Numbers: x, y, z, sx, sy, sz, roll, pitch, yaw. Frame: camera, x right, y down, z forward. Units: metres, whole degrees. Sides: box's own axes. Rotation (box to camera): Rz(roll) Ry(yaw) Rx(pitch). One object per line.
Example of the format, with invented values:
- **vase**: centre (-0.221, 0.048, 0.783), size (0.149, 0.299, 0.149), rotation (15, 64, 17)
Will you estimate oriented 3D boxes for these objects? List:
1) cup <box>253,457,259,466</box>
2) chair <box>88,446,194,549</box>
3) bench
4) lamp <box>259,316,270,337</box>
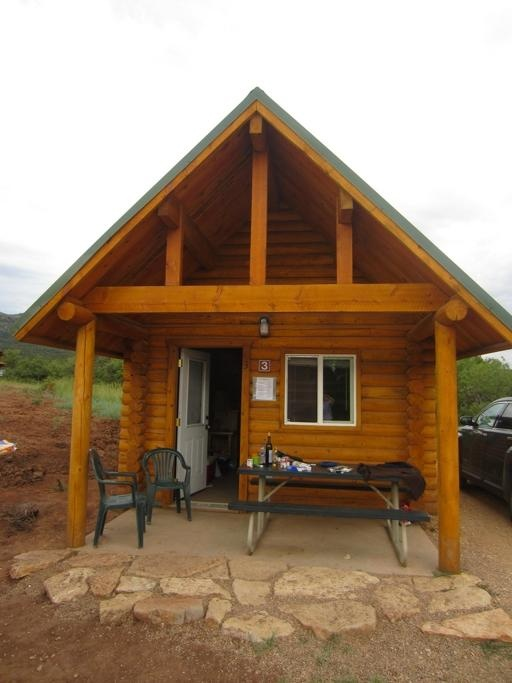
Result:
- **cup**: centre (0.008, 1.464, 6.348), size (0.093, 0.095, 0.086), rotation (1, -6, 0)
- **chair**: centre (-1.465, 2.071, 6.906), size (0.589, 0.761, 1.219), rotation (-4, -7, 9)
- **bench**: centre (0.890, 2.039, 6.414), size (2.099, 0.958, 1.981), rotation (1, 0, 10)
- **lamp**: centre (0.119, -0.219, 7.312), size (0.138, 0.287, 0.227), rotation (1, 0, 8)
